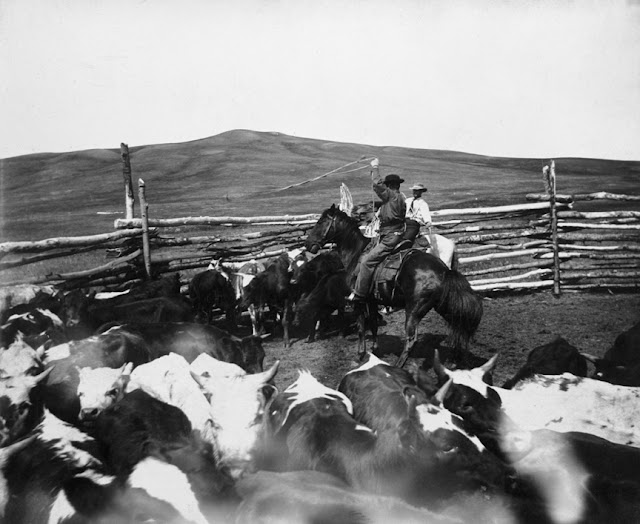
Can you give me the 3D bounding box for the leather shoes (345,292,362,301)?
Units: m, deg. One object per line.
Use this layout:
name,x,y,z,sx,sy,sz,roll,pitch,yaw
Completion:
leather shoes,0.431,0.444,6.718,0.089,0.064,0.142,13,-3,-41

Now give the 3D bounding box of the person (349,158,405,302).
person,0.747,-0.358,6.590,0.480,1.775,0.706,6,-4,18

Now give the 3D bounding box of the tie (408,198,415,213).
tie,1.137,-0.718,6.485,0.092,0.168,0.042,-8,-12,-1

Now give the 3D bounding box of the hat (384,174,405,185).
hat,0.898,-1.009,6.316,0.170,0.058,0.170,7,-10,-39

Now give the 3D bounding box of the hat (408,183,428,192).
hat,1.271,-0.961,6.676,0.134,0.058,0.130,1,-2,-19
